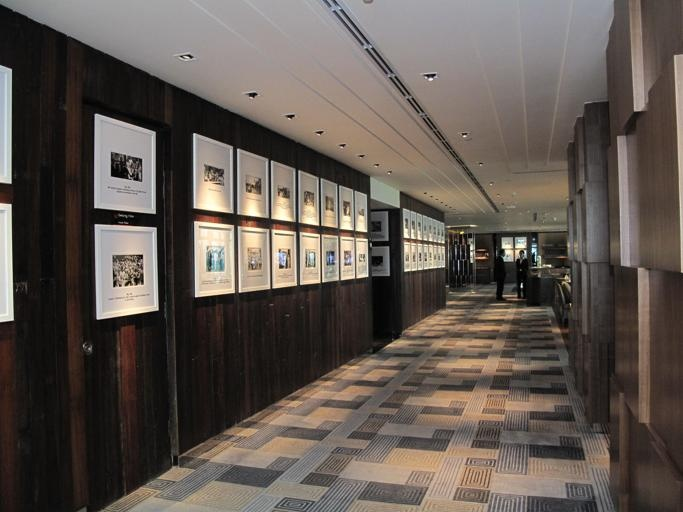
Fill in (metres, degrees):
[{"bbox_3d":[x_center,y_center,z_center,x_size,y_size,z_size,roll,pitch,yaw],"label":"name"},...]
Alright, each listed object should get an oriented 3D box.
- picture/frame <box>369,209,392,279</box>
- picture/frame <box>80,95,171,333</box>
[{"bbox_3d":[1.038,-0.341,12.351,0.492,1.718,0.133,-1,0,14],"label":"picture/frame"},{"bbox_3d":[-1.973,-0.367,4.406,0.180,1.814,0.844,-1,0,13],"label":"picture/frame"}]
